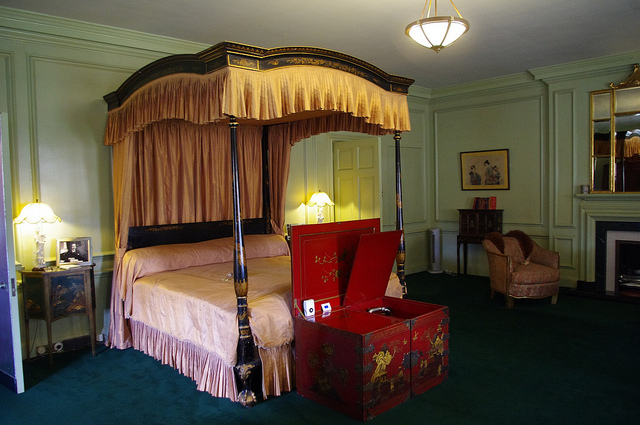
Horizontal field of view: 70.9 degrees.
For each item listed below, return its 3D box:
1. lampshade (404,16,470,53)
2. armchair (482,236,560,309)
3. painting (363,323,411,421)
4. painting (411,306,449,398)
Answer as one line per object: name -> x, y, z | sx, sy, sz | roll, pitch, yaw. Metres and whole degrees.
lampshade -> 1.462, -2.252, 5.587 | 0.706, 0.407, 0.350 | -3, 13, -6
armchair -> 3.688, 1.101, 8.213 | 1.134, 1.001, 0.970 | -4, 13, -13
painting -> 0.750, 1.744, 4.980 | 0.737, 0.957, 0.149 | -12, 17, -41
painting -> 1.304, 1.658, 5.341 | 0.626, 0.942, 0.099 | -11, 16, -37
